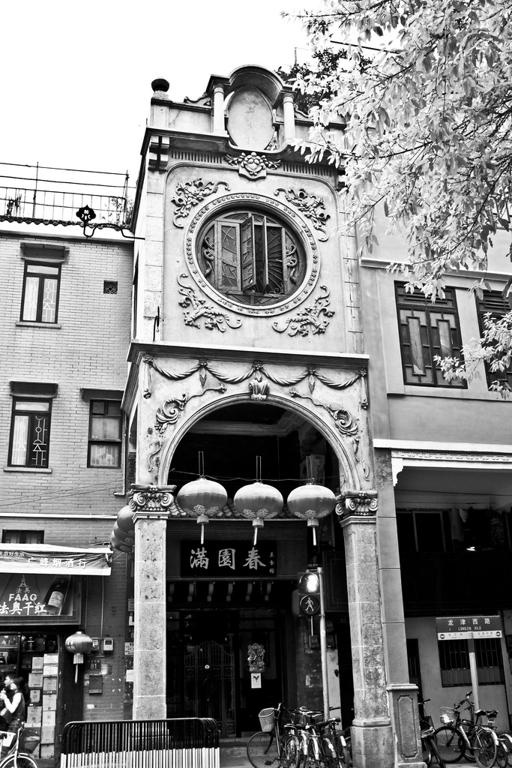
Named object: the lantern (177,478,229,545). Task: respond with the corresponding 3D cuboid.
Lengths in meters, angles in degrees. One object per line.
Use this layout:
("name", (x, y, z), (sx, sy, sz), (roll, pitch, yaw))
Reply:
("lantern", (-0.834, 1.819, 11.611), (0.694, 0.897, 0.682), (10, -28, -25))

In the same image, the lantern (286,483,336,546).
("lantern", (0.921, 1.989, 12.201), (0.783, 0.926, 0.799), (8, -14, -33))

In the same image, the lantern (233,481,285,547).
("lantern", (-0.029, 1.960, 12.059), (0.819, 0.991, 0.863), (4, 11, 16))

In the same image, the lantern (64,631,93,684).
("lantern", (-3.098, 4.706, 13.469), (0.379, 0.829, 0.423), (3, -11, 0))
